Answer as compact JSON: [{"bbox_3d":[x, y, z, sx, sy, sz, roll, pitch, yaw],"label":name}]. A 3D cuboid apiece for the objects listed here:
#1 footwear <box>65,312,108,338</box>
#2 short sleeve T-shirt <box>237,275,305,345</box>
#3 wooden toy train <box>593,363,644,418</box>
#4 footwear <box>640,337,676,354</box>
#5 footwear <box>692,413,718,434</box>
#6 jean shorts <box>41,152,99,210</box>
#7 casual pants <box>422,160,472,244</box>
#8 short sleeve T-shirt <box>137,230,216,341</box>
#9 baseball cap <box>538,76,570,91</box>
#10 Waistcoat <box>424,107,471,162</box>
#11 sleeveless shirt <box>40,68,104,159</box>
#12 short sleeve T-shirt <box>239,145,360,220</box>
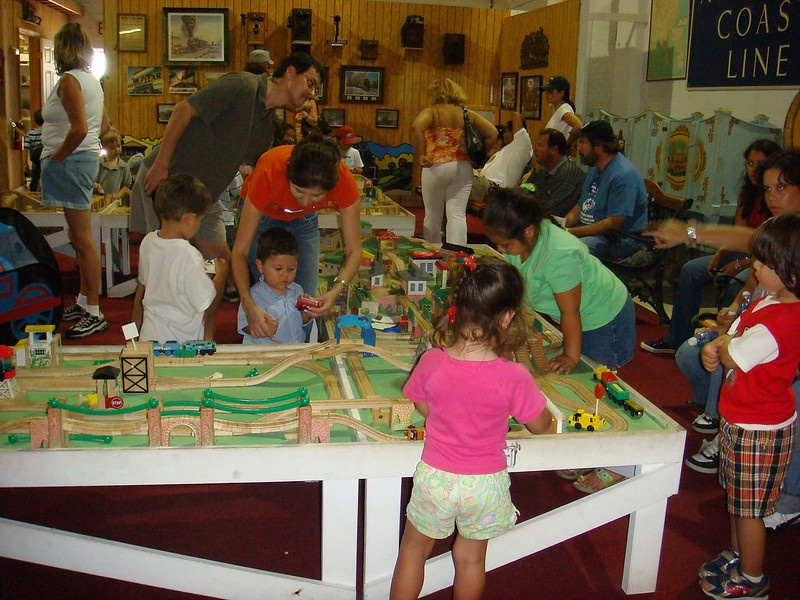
[{"bbox_3d":[-2.450,0.188,4.877,0.125,0.186,0.359,1,10,32],"label":"footwear"},{"bbox_3d":[-0.673,0.052,3.189,0.264,0.285,0.174,-14,26,-34],"label":"short sleeve T-shirt"},{"bbox_3d":[0.878,0.368,2.551,0.089,0.120,0.350,-2,21,-8],"label":"wooden toy train"},{"bbox_3d":[2.056,0.372,4.923,0.266,0.119,0.104,6,10,16],"label":"footwear"},{"bbox_3d":[1.856,0.745,3.662,0.183,0.088,0.072,5,7,-10],"label":"footwear"},{"bbox_3d":[-2.508,-0.927,4.623,0.391,0.407,0.290,7,2,5],"label":"jean shorts"},{"bbox_3d":[0.461,-1.023,6.297,0.469,1.104,0.409,0,31,6],"label":"casual pants"},{"bbox_3d":[-1.109,-0.067,3.008,0.436,0.554,0.266,16,24,22],"label":"short sleeve T-shirt"},{"bbox_3d":[1.743,-2.436,6.954,0.292,0.189,0.198,6,27,-1],"label":"baseball cap"},{"bbox_3d":[0.468,-1.579,6.043,0.439,0.347,0.259,-5,23,-9],"label":"Waistcoat"},{"bbox_3d":[-2.479,-1.420,4.621,0.452,0.654,0.458,-6,11,-31],"label":"sleeveless shirt"},{"bbox_3d":[-0.603,-0.549,3.227,0.607,0.407,0.611,1,-1,-27],"label":"short sleeve T-shirt"}]
